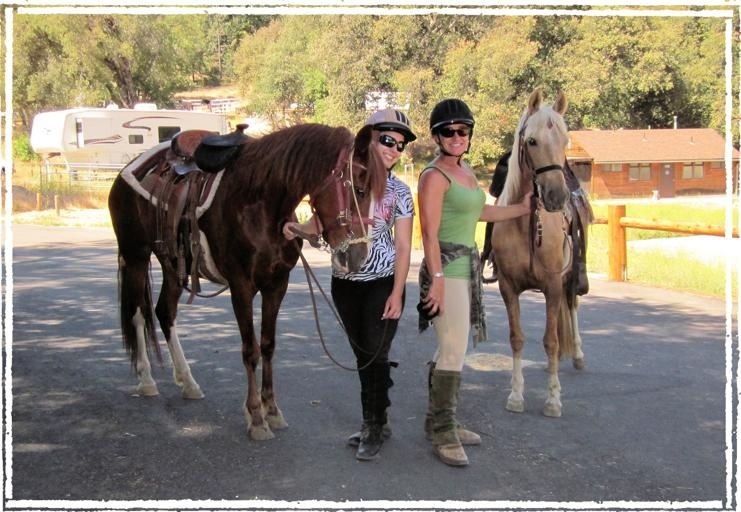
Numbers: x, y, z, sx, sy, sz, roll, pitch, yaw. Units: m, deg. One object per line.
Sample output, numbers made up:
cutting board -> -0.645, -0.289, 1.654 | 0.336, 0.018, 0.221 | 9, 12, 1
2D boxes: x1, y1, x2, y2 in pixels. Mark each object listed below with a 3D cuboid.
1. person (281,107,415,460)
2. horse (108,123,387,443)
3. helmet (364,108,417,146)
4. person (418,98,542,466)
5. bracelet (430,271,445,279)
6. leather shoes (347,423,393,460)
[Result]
person -> -0.038, 0.292, 6.401 | 0.968, 3.278, 0.631 | -2, 10, 3
horse -> -1.620, 0.295, 7.723 | 1.162, 3.303, 4.567 | -1, 4, -45
helmet -> 0.179, -1.185, 6.239 | 0.393, 0.201, 0.302 | -1, -4, 40
person -> 0.801, 0.194, 6.676 | 0.611, 3.400, 1.225 | 0, 10, 17
bracelet -> 0.619, 0.179, 6.324 | 0.119, 0.065, 0.063 | -5, 10, -12
leather shoes -> 0.009, 1.797, 6.647 | 0.246, 0.171, 0.412 | 4, 4, 26
